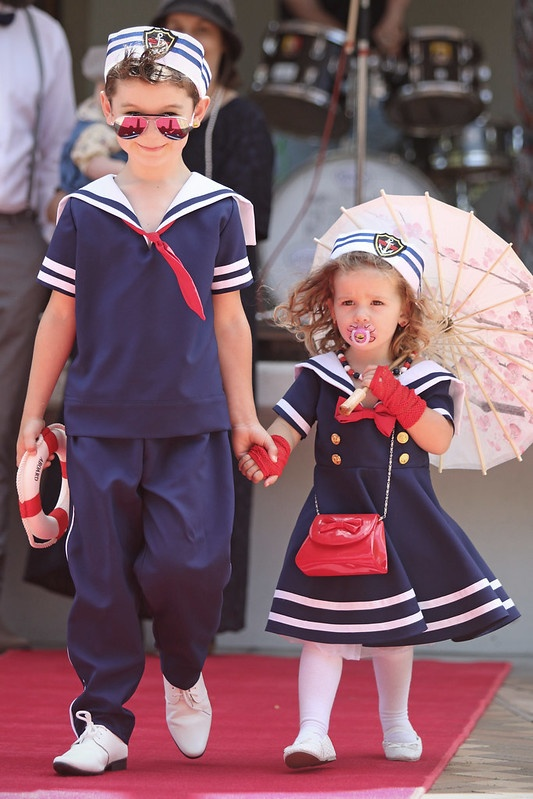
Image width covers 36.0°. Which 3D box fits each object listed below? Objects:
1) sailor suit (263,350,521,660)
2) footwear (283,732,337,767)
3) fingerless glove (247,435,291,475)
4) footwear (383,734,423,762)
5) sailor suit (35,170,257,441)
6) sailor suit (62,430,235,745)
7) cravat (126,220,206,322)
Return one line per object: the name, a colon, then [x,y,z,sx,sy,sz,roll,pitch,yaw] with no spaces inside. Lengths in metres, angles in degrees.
sailor suit: [0.200,0.212,1.366,0.446,0.591,0.286,2,-2,1]
footwear: [0.071,0.522,1.230,0.090,0.039,0.035,18,47,-59]
fingerless glove: [0.008,0.095,1.371,0.056,0.031,0.073,37,-9,19]
footwear: [0.232,0.587,1.369,0.066,0.038,0.056,5,20,-5]
sailor suit: [-0.197,-0.174,1.367,0.366,0.399,0.298,-8,21,-14]
sailor suit: [-0.186,0.272,1.305,0.275,0.495,0.198,-1,-15,-4]
cravat: [-0.158,-0.193,1.266,0.137,0.142,0.065,7,22,-1]
